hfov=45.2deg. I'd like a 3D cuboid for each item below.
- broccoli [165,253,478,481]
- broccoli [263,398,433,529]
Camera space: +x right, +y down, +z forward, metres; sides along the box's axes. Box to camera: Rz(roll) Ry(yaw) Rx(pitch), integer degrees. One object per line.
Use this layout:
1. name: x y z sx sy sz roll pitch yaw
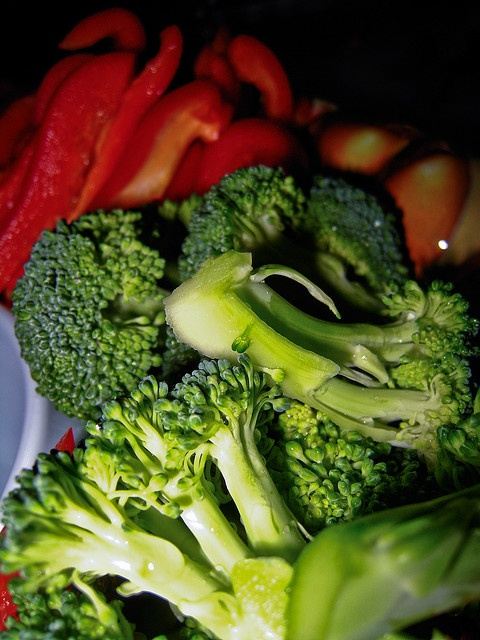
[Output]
1. broccoli: 0.132 0.088 1.068 0.515 0.177 0.317 21 50 -4
2. broccoli: 0.160 0.242 0.918 0.241 0.116 0.178 27 64 31
